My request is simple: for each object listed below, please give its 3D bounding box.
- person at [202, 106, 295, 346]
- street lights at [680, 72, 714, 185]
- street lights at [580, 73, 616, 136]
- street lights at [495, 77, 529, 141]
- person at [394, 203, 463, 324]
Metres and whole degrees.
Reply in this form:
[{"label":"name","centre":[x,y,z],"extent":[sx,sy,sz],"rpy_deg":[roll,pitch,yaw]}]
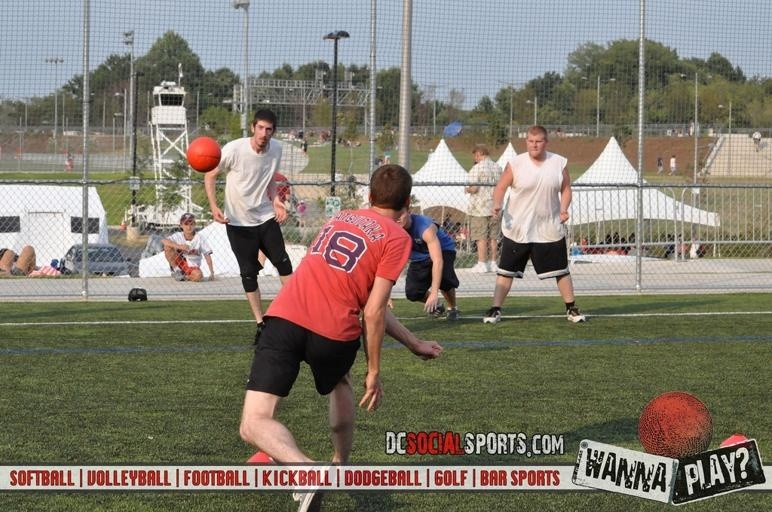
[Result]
[{"label":"person","centre":[-1.787,-0.385,15.644],"extent":[1.091,3.078,1.499],"rpy_deg":[0,-2,-7]},{"label":"street lights","centre":[5.023,-2.048,18.995],"extent":[0.548,1.842,0.417],"rpy_deg":[5,3,31]},{"label":"street lights","centre":[3.517,-2.433,18.662],"extent":[0.327,0.914,0.171],"rpy_deg":[0,4,7]},{"label":"street lights","centre":[2.013,-2.318,18.625],"extent":[0.420,0.987,0.580],"rpy_deg":[2,-2,-2]},{"label":"person","centre":[0.562,0.062,15.540],"extent":[0.640,1.571,0.950],"rpy_deg":[0,0,5]}]
